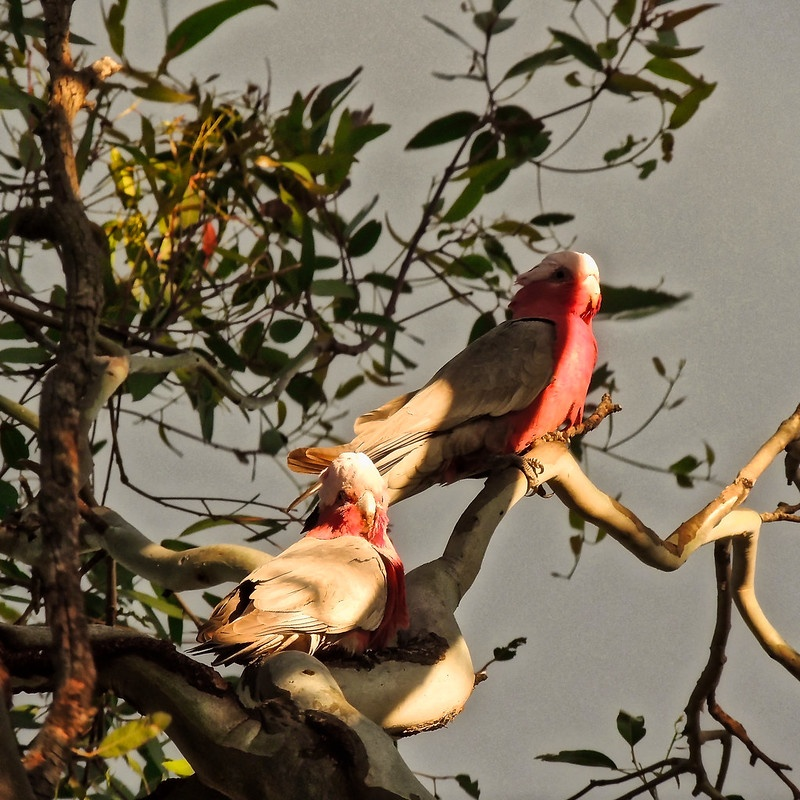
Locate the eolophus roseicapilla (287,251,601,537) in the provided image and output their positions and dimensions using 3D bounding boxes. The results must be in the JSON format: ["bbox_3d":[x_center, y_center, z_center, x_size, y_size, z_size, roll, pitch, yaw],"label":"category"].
[{"bbox_3d":[0.071,-0.029,3.877,0.516,0.364,0.199,-6,-17,28],"label":"eolophus roseicapilla"}]

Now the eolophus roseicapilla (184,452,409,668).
[{"bbox_3d":[-0.131,0.202,3.066,0.276,0.300,0.183,7,-13,-29],"label":"eolophus roseicapilla"}]
